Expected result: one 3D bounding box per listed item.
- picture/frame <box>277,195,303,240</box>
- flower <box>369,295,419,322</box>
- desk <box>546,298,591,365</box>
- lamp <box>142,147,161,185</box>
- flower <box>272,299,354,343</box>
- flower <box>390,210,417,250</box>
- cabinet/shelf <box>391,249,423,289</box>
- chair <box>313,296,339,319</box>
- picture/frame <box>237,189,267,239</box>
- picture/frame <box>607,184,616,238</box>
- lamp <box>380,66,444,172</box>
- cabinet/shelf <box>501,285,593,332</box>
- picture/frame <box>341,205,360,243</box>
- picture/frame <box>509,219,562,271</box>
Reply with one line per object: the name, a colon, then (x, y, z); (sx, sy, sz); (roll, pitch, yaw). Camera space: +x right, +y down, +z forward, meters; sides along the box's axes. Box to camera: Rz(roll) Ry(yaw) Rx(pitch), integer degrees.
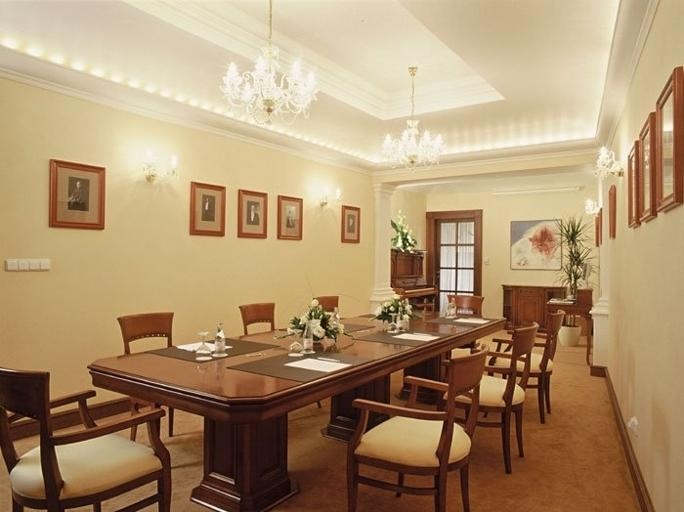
picture/frame: (-0.763, -0.549, 7.138); (0.027, 0.626, 0.534); (4, 5, 35)
flower: (0.527, 0.565, 4.911); (0.313, 0.221, 0.316); (-8, -4, 37)
desk: (4.070, 1.250, 8.529); (0.791, 1.176, 1.032); (2, -5, 21)
lamp: (-2.161, -1.022, 5.468); (0.100, 0.391, 0.223); (5, 9, 24)
flower: (-0.210, 0.528, 4.156); (0.447, 0.316, 0.463); (8, 29, 40)
flower: (1.227, -0.491, 10.238); (0.728, 0.989, 0.879); (-2, 0, -7)
cabinet/shelf: (1.388, 0.330, 9.877); (0.425, 0.797, 1.148); (2, -3, -29)
chair: (-0.175, 0.637, 5.954); (0.281, 0.363, 0.303); (-5, -10, 38)
picture/frame: (-1.234, -0.567, 6.593); (0.470, 0.643, 0.050); (0, 2, -45)
picture/frame: (3.375, -0.541, 5.962); (0.047, 0.656, 0.599); (1, 7, 29)
lamp: (0.832, -1.728, 5.745); (0.712, 1.143, 0.753); (-1, 7, -17)
cabinet/shelf: (3.861, 0.966, 8.880); (0.963, 0.674, 0.347); (-4, -8, 35)
picture/frame: (0.159, -0.551, 8.312); (0.031, 0.612, 0.566); (1, 0, 34)
picture/frame: (4.338, -0.245, 10.617); (1.136, 1.228, 0.047); (-2, -4, 35)
